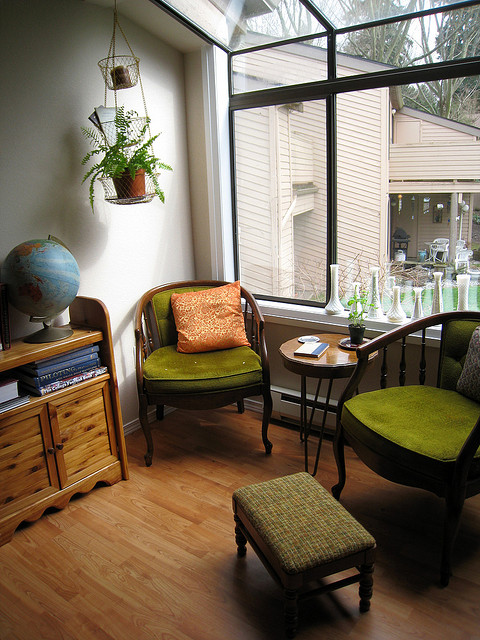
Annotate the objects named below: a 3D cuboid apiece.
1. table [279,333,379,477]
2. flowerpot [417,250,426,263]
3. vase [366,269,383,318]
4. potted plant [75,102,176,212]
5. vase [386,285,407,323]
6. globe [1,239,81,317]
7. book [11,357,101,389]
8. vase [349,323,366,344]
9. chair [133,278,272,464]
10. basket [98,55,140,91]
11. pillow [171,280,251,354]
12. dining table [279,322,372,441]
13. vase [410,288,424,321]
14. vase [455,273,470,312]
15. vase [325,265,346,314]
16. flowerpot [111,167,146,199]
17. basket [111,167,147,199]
[{"bbox_3d":[0.359,0.369,2.320,0.578,0.758,0.598,1,19,5],"label":"table"},{"bbox_3d":[0.906,-0.319,2.421,0.051,0.066,0.049,-2,7,-6],"label":"flowerpot"},{"bbox_3d":[0.682,-0.138,2.460,0.084,0.247,0.137,-1,13,8],"label":"vase"},{"bbox_3d":[-0.517,-0.763,2.292,0.401,0.406,0.435,-5,13,1],"label":"potted plant"},{"bbox_3d":[0.780,-0.089,2.412,0.099,0.177,0.151,1,13,18],"label":"vase"},{"bbox_3d":[-0.748,-0.162,1.840,0.269,0.298,0.184,-4,17,-38],"label":"globe"},{"bbox_3d":[-0.791,0.188,2.036,0.223,0.089,0.357,11,16,33],"label":"book"},{"bbox_3d":[0.509,0.057,2.164,0.074,0.069,0.078,-11,22,-40],"label":"vase"},{"bbox_3d":[-0.171,0.240,2.513,0.704,0.819,0.678,2,11,22],"label":"chair"},{"bbox_3d":[-0.540,-1.095,2.168,0.217,0.134,0.214,-9,19,-19],"label":"basket"},{"bbox_3d":[-0.161,-0.015,2.627,0.398,0.337,0.211,-5,13,-9],"label":"pillow"},{"bbox_3d":[0.407,0.285,2.248,0.444,0.477,0.432,-10,22,-20],"label":"dining table"},{"bbox_3d":[0.835,-0.074,2.284,0.048,0.156,0.105,2,13,21],"label":"vase"},{"bbox_3d":[1.010,-0.130,2.201,0.052,0.153,0.169,2,14,24],"label":"vase"},{"bbox_3d":[0.517,-0.175,2.635,0.109,0.259,0.155,0,13,12],"label":"vase"},{"bbox_3d":[-0.482,-0.608,2.194,0.139,0.104,0.137,17,36,39],"label":"flowerpot"},{"bbox_3d":[-0.489,-0.599,2.164,0.137,0.102,0.140,16,35,34],"label":"basket"}]
